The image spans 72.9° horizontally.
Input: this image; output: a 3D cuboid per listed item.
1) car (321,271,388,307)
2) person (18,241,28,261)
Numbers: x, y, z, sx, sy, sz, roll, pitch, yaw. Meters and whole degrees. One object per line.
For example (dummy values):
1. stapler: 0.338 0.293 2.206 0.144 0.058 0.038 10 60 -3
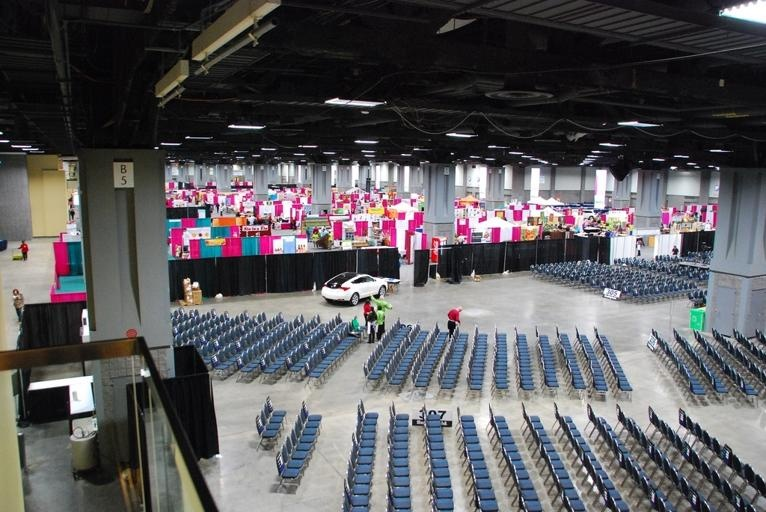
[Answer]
1. car: -1.461 1.673 27.056 1.487 1.116 3.257 10 15 40
2. person: -23.923 -0.386 34.680 0.408 1.331 2.538 -10 17 -36
